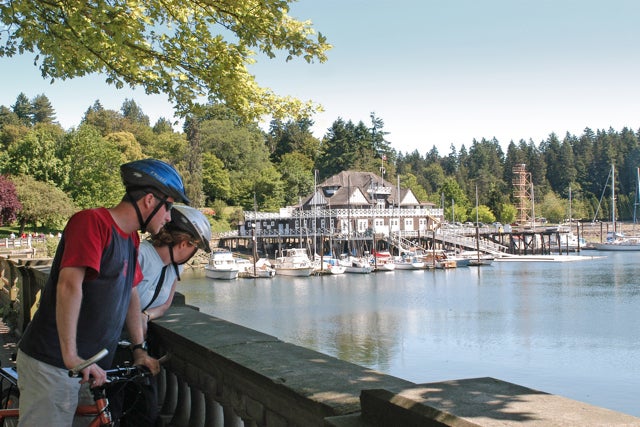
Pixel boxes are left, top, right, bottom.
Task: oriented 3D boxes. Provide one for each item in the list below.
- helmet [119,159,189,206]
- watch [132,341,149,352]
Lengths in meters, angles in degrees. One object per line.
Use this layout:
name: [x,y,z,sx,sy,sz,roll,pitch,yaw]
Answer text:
helmet: [-1.397,-0.271,5.650,0.501,0.250,0.346,12,1,-16]
watch: [-1.626,1.202,6.054,0.117,0.065,0.115,-4,1,-8]
